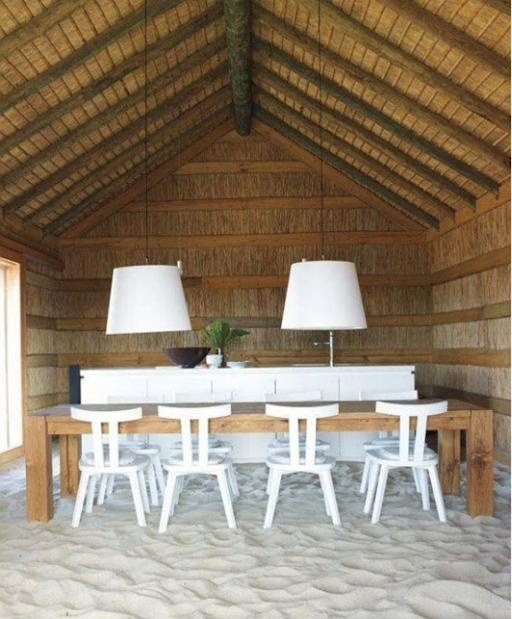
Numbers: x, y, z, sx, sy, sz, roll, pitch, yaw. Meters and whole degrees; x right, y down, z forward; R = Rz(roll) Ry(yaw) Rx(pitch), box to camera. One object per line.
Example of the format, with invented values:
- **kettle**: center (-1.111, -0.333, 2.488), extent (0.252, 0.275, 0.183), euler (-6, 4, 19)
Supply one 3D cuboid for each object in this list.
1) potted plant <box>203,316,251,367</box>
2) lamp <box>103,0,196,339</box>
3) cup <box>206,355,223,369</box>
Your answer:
- **potted plant**: center (-0.297, 0.257, 5.318), extent (0.297, 0.263, 0.249), euler (5, 8, 1)
- **lamp**: center (-0.852, -1.053, 4.616), extent (0.495, 1.934, 2.638), euler (-1, 0, -11)
- **cup**: center (-0.376, 0.459, 5.350), extent (0.139, 0.098, 0.126), euler (1, 0, 20)
